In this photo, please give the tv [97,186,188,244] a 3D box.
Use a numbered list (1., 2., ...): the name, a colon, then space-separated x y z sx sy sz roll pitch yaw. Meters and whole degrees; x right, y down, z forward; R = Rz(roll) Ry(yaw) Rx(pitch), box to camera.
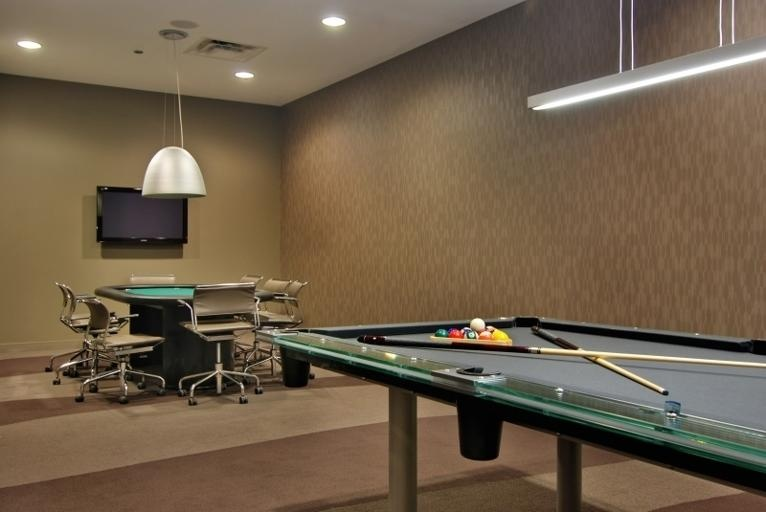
1. tv: -3.505 -0.599 8.740 1.204 0.813 0.161 -1 6 -24
